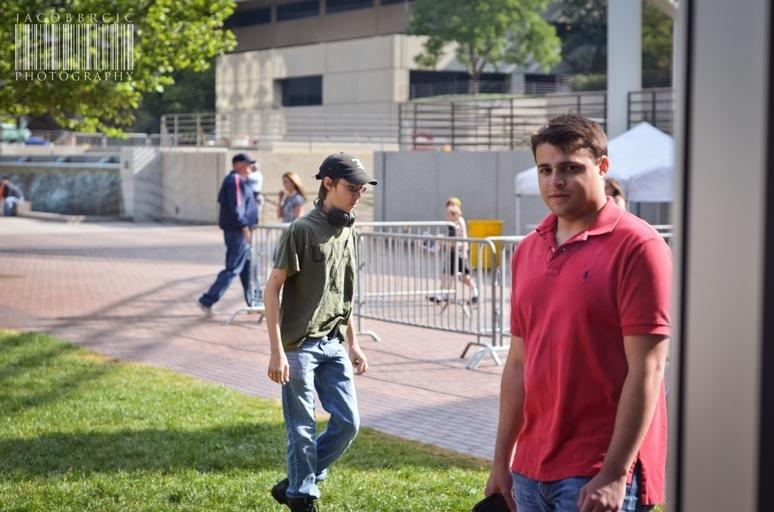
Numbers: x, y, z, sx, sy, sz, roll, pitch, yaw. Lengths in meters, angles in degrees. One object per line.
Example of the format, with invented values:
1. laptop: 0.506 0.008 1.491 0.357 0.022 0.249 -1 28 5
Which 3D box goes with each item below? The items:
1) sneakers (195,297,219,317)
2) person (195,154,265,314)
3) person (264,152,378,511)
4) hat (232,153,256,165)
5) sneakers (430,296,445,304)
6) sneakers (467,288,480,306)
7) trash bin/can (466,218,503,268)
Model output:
1. sneakers: -3.183 0.907 22.094 0.194 0.191 0.510 -23 -41 4
2. person: -2.653 -0.391 21.726 1.003 2.851 0.693 5 12 20
3. person: -0.813 0.897 14.584 1.237 4.087 0.911 -5 12 -22
4. hat: -2.474 -1.693 21.486 0.313 0.185 0.239 1 9 -16
5. sneakers: 0.849 0.728 20.940 0.283 0.133 0.110 12 -4 29
6. sneakers: 1.534 0.673 21.147 0.130 0.314 0.294 -2 -6 20
7. trash bin/can: 1.982 -0.362 27.620 0.976 1.389 0.993 0 -2 -4
